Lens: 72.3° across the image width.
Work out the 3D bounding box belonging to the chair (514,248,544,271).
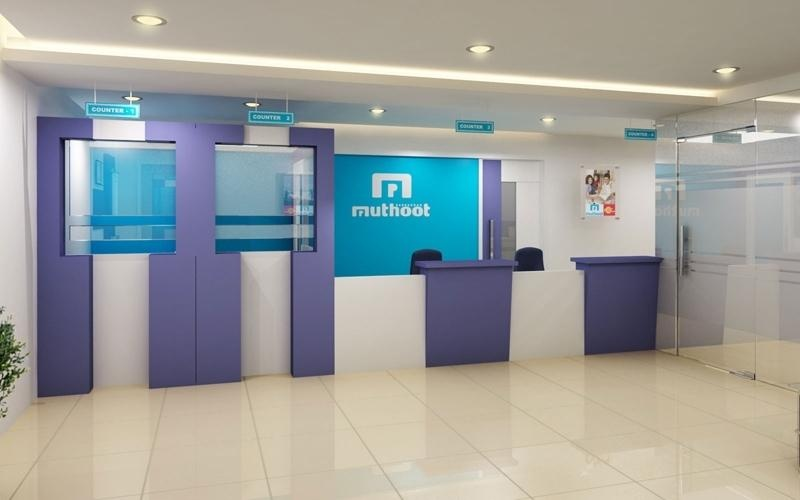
[{"bbox_3d":[2.335,0.144,10.114,0.505,0.624,0.538,1,-6,2],"label":"chair"}]

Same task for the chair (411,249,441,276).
[{"bbox_3d":[0.415,0.202,9.025,0.440,0.731,0.437,1,-3,-17],"label":"chair"}]
